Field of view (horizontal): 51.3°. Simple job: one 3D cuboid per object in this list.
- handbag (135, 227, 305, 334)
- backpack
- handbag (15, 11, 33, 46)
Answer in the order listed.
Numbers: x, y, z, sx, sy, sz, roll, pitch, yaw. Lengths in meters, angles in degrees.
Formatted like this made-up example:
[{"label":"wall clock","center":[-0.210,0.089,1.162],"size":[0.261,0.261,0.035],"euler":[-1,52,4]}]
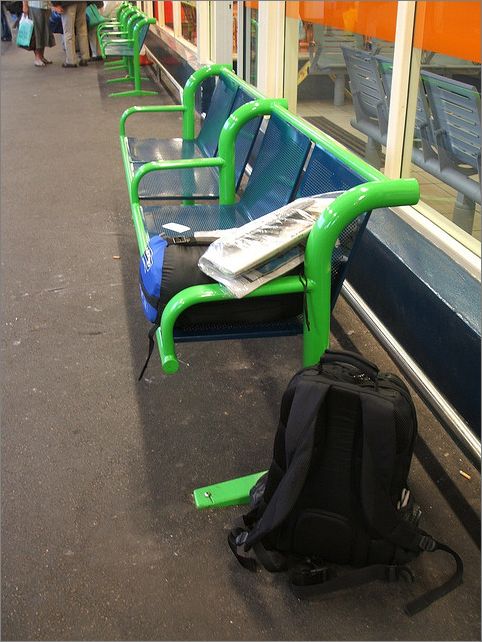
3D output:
[{"label":"handbag","center":[-0.110,-0.075,1.335],"size":[0.317,0.168,0.306],"euler":[-5,27,-18]},{"label":"backpack","center":[0.257,0.382,1.142],"size":[0.357,0.361,0.217],"euler":[23,44,35]},{"label":"handbag","center":[-3.726,-4.927,8.588],"size":[0.224,0.507,0.521],"euler":[-20,37,-36]}]
